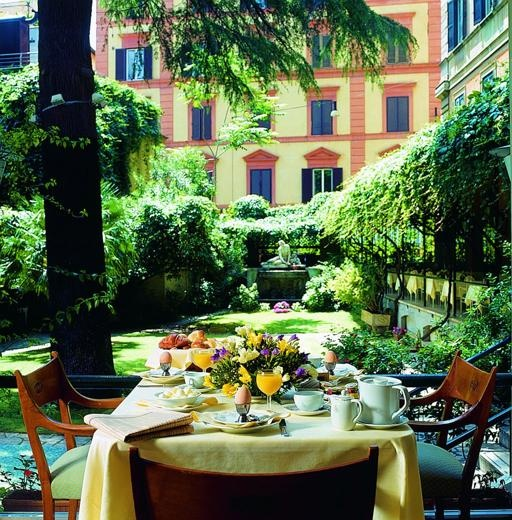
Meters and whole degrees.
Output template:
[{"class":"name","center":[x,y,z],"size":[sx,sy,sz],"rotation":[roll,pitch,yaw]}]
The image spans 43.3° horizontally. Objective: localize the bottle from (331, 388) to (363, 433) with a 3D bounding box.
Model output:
[{"class":"bottle","center":[0.341,0.581,2.436],"size":[0.143,0.139,0.087],"rotation":[1,-1,35]}]

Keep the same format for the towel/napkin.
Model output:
[{"class":"towel/napkin","center":[-0.462,0.590,2.494],"size":[0.426,0.095,0.309],"rotation":[3,0,-27]}]

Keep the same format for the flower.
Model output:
[{"class":"flower","center":[0.028,0.424,2.851],"size":[0.377,0.322,0.377],"rotation":[7,1,-12]}]

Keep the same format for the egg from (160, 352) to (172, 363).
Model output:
[{"class":"egg","center":[-0.447,0.484,3.214],"size":[0.058,0.064,0.083],"rotation":[0,2,-9]}]

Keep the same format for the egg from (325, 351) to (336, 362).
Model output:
[{"class":"egg","center":[0.373,0.475,3.195],"size":[0.042,0.055,0.044],"rotation":[-4,4,15]}]

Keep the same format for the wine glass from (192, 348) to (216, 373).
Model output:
[{"class":"wine glass","center":[-0.246,0.473,3.100],"size":[0.132,0.192,0.136],"rotation":[0,-7,-2]}]

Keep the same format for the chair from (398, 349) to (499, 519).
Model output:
[{"class":"chair","center":[0.931,0.759,3.213],"size":[0.639,0.939,0.710],"rotation":[1,-3,1]}]

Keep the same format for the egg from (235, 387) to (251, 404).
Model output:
[{"class":"egg","center":[-0.046,0.517,2.470],"size":[0.057,0.058,0.056],"rotation":[2,7,12]}]
